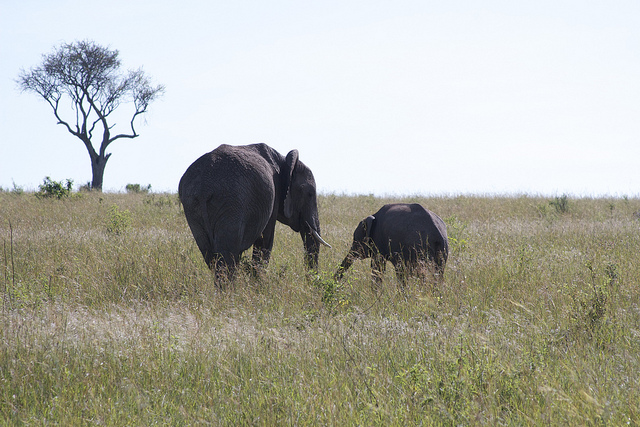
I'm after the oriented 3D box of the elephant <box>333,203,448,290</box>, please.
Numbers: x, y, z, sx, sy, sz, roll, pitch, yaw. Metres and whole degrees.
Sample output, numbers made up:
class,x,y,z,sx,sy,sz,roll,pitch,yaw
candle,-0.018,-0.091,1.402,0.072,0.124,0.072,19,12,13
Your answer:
class,x,y,z,sx,sy,sz,roll,pitch,yaw
elephant,1.311,0.653,13.557,0.866,1.706,2.375,7,4,-42

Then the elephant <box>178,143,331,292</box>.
class,x,y,z,sx,sy,sz,roll,pitch,yaw
elephant,-1.331,0.073,13.766,1.559,2.846,3.421,1,3,21
